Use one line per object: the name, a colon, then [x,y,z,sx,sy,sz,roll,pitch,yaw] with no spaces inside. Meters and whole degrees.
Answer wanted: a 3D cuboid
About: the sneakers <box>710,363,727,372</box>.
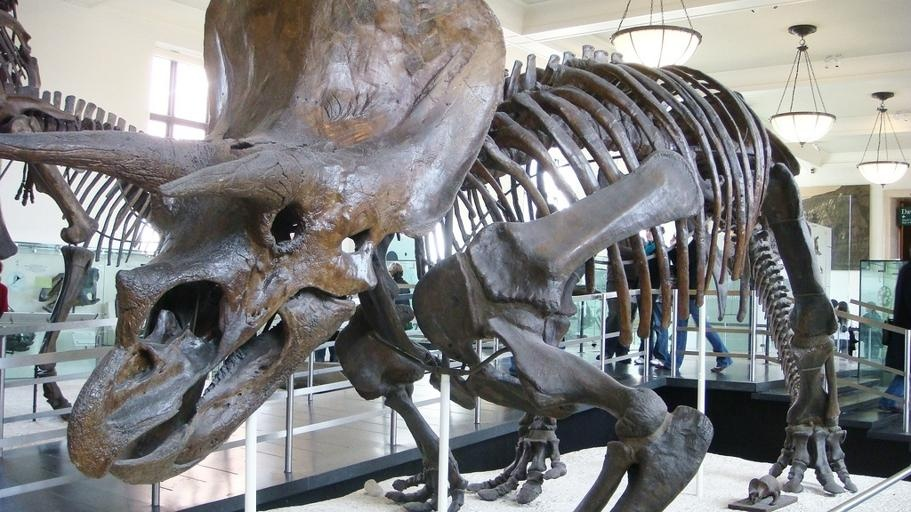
sneakers: [3.654,1.567,9.427,0.122,0.074,0.271,10,-6,-29]
